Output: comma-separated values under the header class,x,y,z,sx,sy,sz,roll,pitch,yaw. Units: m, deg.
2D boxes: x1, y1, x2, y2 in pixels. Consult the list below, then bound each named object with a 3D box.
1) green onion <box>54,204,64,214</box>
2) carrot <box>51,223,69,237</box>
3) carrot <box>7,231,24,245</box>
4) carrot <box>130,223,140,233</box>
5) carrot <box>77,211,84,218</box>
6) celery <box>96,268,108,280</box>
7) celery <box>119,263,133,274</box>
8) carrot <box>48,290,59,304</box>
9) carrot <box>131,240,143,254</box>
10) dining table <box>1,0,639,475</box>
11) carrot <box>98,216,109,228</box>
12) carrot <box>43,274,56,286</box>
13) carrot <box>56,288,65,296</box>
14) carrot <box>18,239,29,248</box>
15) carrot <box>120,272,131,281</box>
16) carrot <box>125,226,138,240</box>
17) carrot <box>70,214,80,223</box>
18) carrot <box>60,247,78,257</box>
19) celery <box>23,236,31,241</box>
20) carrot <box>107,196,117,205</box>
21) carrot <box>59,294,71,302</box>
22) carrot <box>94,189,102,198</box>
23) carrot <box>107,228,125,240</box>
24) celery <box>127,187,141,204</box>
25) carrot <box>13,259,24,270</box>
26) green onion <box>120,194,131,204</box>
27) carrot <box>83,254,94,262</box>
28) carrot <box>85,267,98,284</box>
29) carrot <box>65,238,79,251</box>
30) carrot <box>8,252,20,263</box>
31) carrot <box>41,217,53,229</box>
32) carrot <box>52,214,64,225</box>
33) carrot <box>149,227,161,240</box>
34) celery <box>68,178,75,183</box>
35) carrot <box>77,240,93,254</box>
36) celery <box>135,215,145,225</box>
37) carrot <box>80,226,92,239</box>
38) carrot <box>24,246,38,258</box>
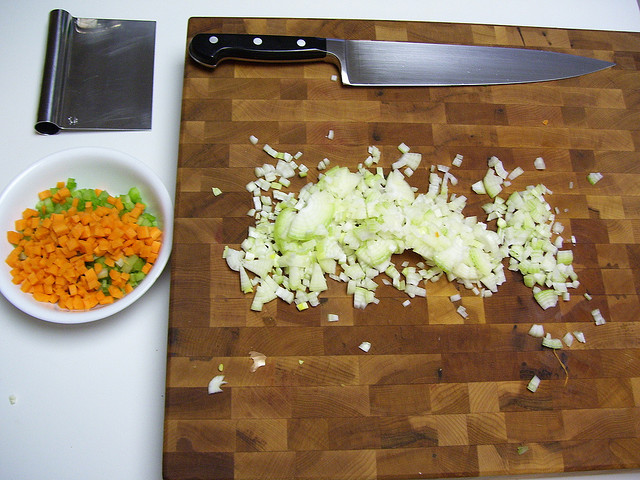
class,x,y,z,sx,sy,sz,roll,pitch,yaw
green onion,-0.996,-0.128,2.279,0.038,0.010,0.031,5,78,-1
carrot,-0.953,-0.045,2.199,0.059,0.041,0.043,0,88,-3
carrot,-1.139,-0.016,2.229,0.087,0.044,0.050,5,93,-17
carrot,-0.695,-0.058,2.242,0.032,0.008,0.027,8,75,-2
carrot,-0.886,-0.101,2.213,0.024,0.006,0.020,4,48,-19
celery,-0.808,0.119,2.213,0.057,0.016,0.043,10,88,-18
celery,-0.724,0.103,2.234,0.033,0.040,0.036,1,89,-29
carrot,-0.984,0.205,2.204,0.041,0.015,0.049,-6,92,-16
carrot,-0.682,0.018,2.225,0.046,0.014,0.043,28,87,13
dining table,-0.368,-0.123,2.442,2.035,0.645,2.001,2,61,-4
carrot,-0.801,-0.075,2.222,0.039,0.013,0.040,43,98,29
carrot,-0.994,0.142,2.195,0.022,0.037,0.026,-30,106,5
carrot,-0.959,0.189,2.206,0.040,0.010,0.031,11,88,-13
carrot,-1.104,0.008,2.230,0.030,0.010,0.026,21,69,20
carrot,-0.728,0.130,2.231,0.040,0.010,0.033,9,90,-16
carrot,-0.705,-0.033,2.222,0.035,0.026,0.039,-40,72,-22
carrot,-0.902,-0.085,2.204,0.037,0.023,0.024,-20,66,-15
carrot,-0.925,0.041,2.204,0.041,0.010,0.036,4,111,-19
celery,-1.098,-0.012,2.243,0.021,0.005,0.016,-1,76,0
carrot,-0.794,-0.161,2.277,0.046,0.011,0.037,1,91,-1
carrot,-0.943,0.212,2.209,0.022,0.025,0.031,57,46,-34
carrot,-0.856,-0.195,2.301,0.028,0.026,0.023,-1,90,2
carrot,-0.757,-0.028,2.216,0.047,0.015,0.043,26,90,14
celery,-0.712,-0.187,2.290,0.044,0.025,0.049,6,97,-4
carrot,-1.101,0.083,2.192,0.036,0.025,0.033,16,62,3
green onion,-0.744,-0.169,2.282,0.035,0.033,0.023,-3,93,-34
carrot,-0.855,0.060,2.218,0.038,0.040,0.022,-14,66,-12
carrot,-0.838,0.127,2.190,0.048,0.047,0.044,5,81,4
carrot,-0.904,0.010,2.184,0.047,0.029,0.042,1,82,-2
carrot,-1.124,0.060,2.197,0.032,0.034,0.032,-40,49,11
carrot,-1.006,-0.074,2.217,0.038,0.011,0.036,-21,86,-7
carrot,-0.968,-0.085,2.214,0.041,0.038,0.035,4,98,14
carrot,-0.625,-0.032,2.250,0.032,0.024,0.045,42,66,16
celery,-0.953,-0.240,2.292,0.020,0.006,0.016,7,75,-8
carrot,-0.861,0.016,2.196,0.059,0.051,0.028,23,99,2
celery,-0.681,-0.087,2.262,0.035,0.008,0.028,6,73,4
carrot,-0.860,-0.032,2.201,0.049,0.012,0.040,-3,84,-14
carrot,-1.066,0.038,2.207,0.045,0.017,0.037,1,94,21
